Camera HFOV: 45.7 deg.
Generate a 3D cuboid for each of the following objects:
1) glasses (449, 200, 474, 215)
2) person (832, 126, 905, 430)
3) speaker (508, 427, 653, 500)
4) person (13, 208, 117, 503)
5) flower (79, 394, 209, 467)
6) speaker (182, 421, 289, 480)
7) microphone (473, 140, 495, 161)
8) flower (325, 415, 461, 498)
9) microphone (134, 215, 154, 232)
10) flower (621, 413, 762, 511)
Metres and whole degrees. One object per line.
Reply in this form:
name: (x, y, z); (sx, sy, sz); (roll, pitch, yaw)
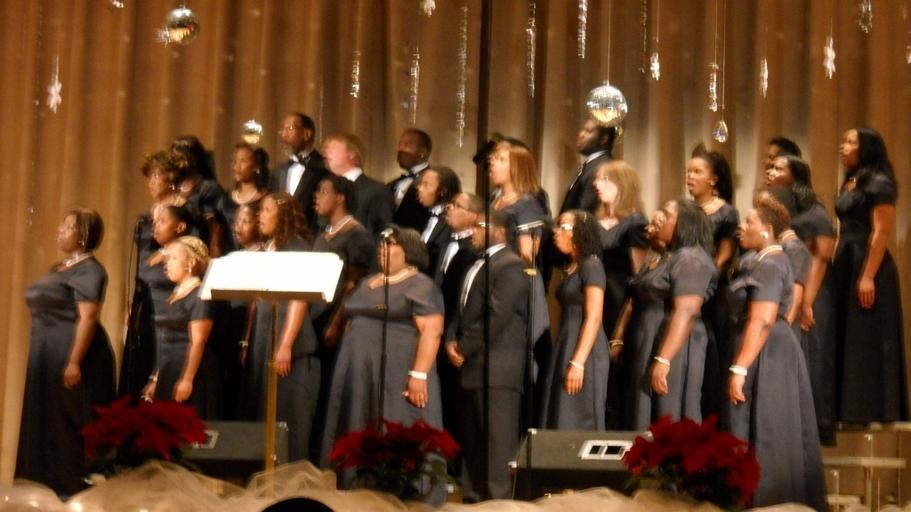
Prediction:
glasses: (0.032, -0.318, 7.005); (0.111, 0.066, 0.085); (11, -1, -14)
person: (2.663, 0.118, 6.968); (0.440, 1.907, 0.152); (-1, -6, 18)
speaker: (0.714, 1.278, 7.049); (0.812, 0.482, 0.623); (3, -6, 0)
person: (-2.581, 0.615, 7.214); (0.626, 1.901, 0.222); (0, -6, 13)
flower: (-1.807, 0.977, 6.119); (0.467, 0.273, 0.486); (13, 13, 36)
speaker: (-1.449, 1.234, 7.198); (0.681, 0.359, 0.445); (2, 0, 0)
microphone: (0.188, -0.690, 7.159); (0.093, 0.155, 0.037); (36, 31, 3)
flower: (-0.327, 1.147, 5.994); (0.743, 0.429, 0.766); (-1, 4, 1)
microphone: (-2.116, -0.234, 7.315); (0.108, 0.116, 0.120); (3, -45, -8)
flower: (1.273, 1.098, 5.956); (0.541, 0.379, 0.549); (5, 4, 2)
